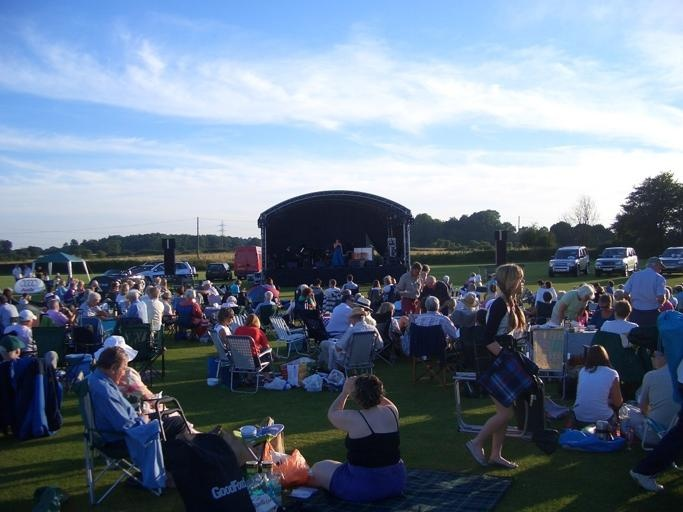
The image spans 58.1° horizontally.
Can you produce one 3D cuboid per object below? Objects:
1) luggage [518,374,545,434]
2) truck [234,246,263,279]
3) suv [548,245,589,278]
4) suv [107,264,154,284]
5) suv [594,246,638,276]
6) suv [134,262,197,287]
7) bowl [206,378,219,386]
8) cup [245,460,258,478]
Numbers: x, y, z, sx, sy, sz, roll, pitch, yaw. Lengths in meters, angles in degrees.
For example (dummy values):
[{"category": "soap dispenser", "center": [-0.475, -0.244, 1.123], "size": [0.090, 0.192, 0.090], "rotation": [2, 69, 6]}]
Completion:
[{"category": "luggage", "center": [2.125, 1.697, 6.778], "size": [0.264, 0.567, 0.396], "rotation": [-5, -20, 25]}, {"category": "truck", "center": [-4.989, 0.312, 32.400], "size": [1.409, 1.582, 2.807], "rotation": [-1, 3, -1]}, {"category": "suv", "center": [11.043, 0.247, 29.796], "size": [1.215, 1.075, 2.338], "rotation": [-3, -4, 33]}, {"category": "suv", "center": [-10.101, 0.779, 29.957], "size": [2.493, 0.860, 1.697], "rotation": [1, 0, -3]}, {"category": "suv", "center": [12.884, 0.243, 28.836], "size": [1.186, 1.101, 2.533], "rotation": [-3, -4, 37]}, {"category": "suv", "center": [-7.552, 0.772, 26.551], "size": [1.937, 0.806, 0.953], "rotation": [3, -2, -10]}, {"category": "bowl", "center": [-1.993, 1.954, 9.593], "size": [0.113, 0.083, 0.117], "rotation": [0, 2, 0]}, {"category": "cup", "center": [-0.844, 1.979, 5.746], "size": [0.108, 0.124, 0.127], "rotation": [0, -4, 6]}]
